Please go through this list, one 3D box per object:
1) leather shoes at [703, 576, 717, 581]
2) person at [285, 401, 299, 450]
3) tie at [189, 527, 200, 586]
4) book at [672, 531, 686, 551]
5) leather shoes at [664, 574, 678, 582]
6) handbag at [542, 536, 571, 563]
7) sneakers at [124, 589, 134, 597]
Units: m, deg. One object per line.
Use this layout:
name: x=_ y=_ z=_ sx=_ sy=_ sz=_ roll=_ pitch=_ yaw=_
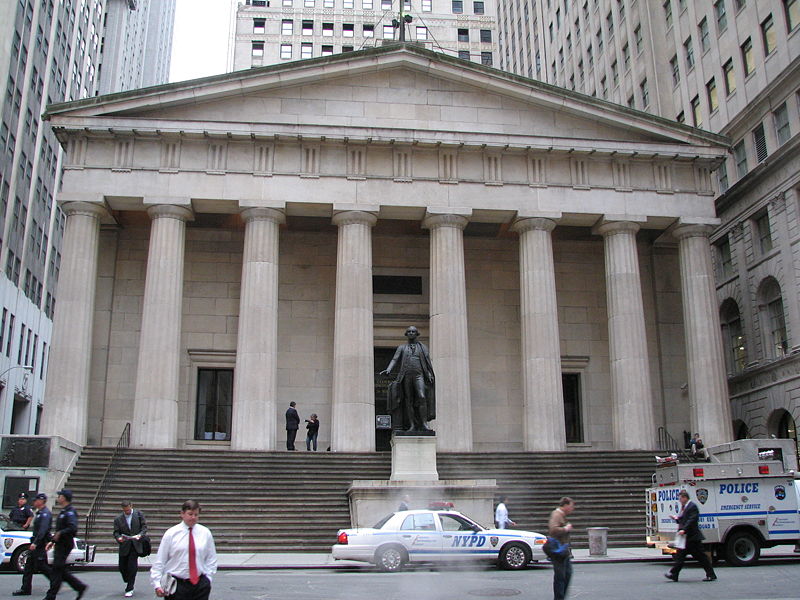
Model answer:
leather shoes: x=7.213 y=6.421 z=17.980 sx=0.291 sy=0.125 sz=0.465 roll=-7 pitch=-18 yaw=20
person: x=-4.739 y=5.489 z=34.252 sx=0.482 sy=2.240 sz=1.169 roll=1 pitch=-17 yaw=-7
tie: x=-3.049 y=3.767 z=11.485 sx=0.182 sy=0.795 sz=0.088 roll=9 pitch=-19 yaw=-28
book: x=6.657 y=5.650 z=18.369 sx=0.267 sy=0.404 sz=0.226 roll=-15 pitch=-22 yaw=39
leather shoes: x=6.389 y=6.442 z=18.127 sx=0.263 sy=0.182 sz=0.550 roll=-4 pitch=-17 yaw=9
handbag: x=2.948 y=4.596 z=14.444 sx=0.458 sy=0.448 sz=0.357 roll=-3 pitch=-17 yaw=7
sneakers: x=-5.692 y=6.139 z=16.297 sx=0.108 sy=0.110 sz=0.298 roll=6 pitch=-18 yaw=-10
